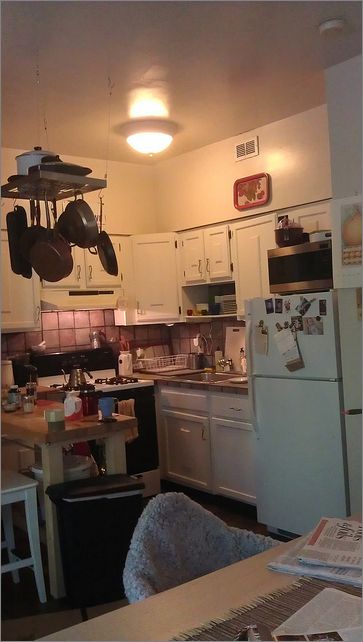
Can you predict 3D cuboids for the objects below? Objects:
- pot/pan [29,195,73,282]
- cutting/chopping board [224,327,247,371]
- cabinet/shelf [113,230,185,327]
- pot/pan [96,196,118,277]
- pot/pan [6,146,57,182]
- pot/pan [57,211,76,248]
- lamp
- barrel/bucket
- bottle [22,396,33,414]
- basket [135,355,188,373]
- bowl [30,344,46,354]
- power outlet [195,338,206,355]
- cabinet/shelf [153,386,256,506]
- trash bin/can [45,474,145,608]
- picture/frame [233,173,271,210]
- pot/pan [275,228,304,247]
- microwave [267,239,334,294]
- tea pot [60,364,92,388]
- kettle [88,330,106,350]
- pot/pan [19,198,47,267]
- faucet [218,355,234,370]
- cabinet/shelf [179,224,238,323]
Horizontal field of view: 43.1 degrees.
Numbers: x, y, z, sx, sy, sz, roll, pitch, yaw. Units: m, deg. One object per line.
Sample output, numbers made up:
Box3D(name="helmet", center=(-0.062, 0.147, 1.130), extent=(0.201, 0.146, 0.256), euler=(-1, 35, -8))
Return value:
Box3D(name="pot/pan", center=(-0.574, -0.334, 2.101), extent=(0.176, 0.448, 0.069), euler=(-2, 6, 37))
Box3D(name="cutting/chopping board", center=(0.495, 0.258, 4.196), extent=(0.216, 0.428, 0.027), euler=(-3, -12, 33))
Box3D(name="cabinet/shelf", center=(-0.278, -0.444, 4.655), extent=(0.693, 0.871, 0.665), euler=(1, 9, 27))
Box3D(name="pot/pan", center=(-0.390, -0.459, 2.425), extent=(0.057, 0.483, 0.255), euler=(-6, -28, -8))
Box3D(name="pot/pan", center=(-0.674, -0.754, 2.131), extent=(0.204, 0.161, 0.210), euler=(-3, -3, -25))
Box3D(name="pot/pan", center=(-0.573, -0.451, 2.224), extent=(0.043, 0.144, 0.135), euler=(-12, 16, -22))
Box3D(name="lamp", center=(-0.250, -1.457, 3.494), extent=(0.510, 0.186, 0.364), euler=(-3, -11, -8))
Box3D(name="barrel/bucket", center=(-0.654, 0.918, 2.624), extent=(0.276, 0.240, 0.303), euler=(-2, -1, 0))
Box3D(name="bottle", center=(-0.947, 0.510, 2.839), extent=(0.078, 0.111, 0.082), euler=(0, 3, 0))
Box3D(name="basket", center=(-0.178, 0.425, 4.616), extent=(0.550, 0.220, 0.347), euler=(2, -12, -30))
Box3D(name="bowl", center=(-1.245, 0.227, 4.010), extent=(0.067, 0.104, 0.153), euler=(-12, -13, 38))
Box3D(name="power outlet", center=(0.181, 0.245, 4.583), extent=(0.050, 0.169, 0.147), euler=(4, -13, -35))
Box3D(name="cabinet/shelf", center=(0.391, 0.955, 3.803), extent=(1.097, 0.828, 0.664), euler=(0, 4, 36))
Box3D(name="trash bin/can", center=(-0.443, 1.126, 2.388), extent=(0.498, 0.553, 0.354), euler=(4, -11, -27))
Box3D(name="picture/frame", center=(0.579, -1.051, 3.720), extent=(0.035, 0.267, 0.330), euler=(-1, 1, -36))
Box3D(name="pot/pan", center=(0.709, -0.529, 3.053), extent=(0.136, 0.097, 0.137), euler=(-2, 0, 44))
Box3D(name="microwave", center=(0.804, -0.348, 3.016), extent=(0.451, 0.303, 0.261), euler=(-4, 2, 38))
Box3D(name="tea pot", center=(-0.858, 0.439, 3.683), extent=(0.220, 0.153, 0.157), euler=(3, 2, 10))
Box3D(name="kettle", center=(-0.802, 0.177, 4.424), extent=(0.079, 0.191, 0.259), euler=(3, 16, 10))
Box3D(name="pot/pan", center=(-0.733, -0.469, 2.252), extent=(0.084, 0.219, 0.201), euler=(1, 7, -22))
Box3D(name="faucet", center=(0.402, 0.385, 4.221), extent=(0.099, 0.137, 0.108), euler=(9, -7, -15))
Box3D(name="cabinet/shelf", center=(0.271, -0.422, 4.252), extent=(0.527, 0.846, 0.240), euler=(-4, 1, 25))
